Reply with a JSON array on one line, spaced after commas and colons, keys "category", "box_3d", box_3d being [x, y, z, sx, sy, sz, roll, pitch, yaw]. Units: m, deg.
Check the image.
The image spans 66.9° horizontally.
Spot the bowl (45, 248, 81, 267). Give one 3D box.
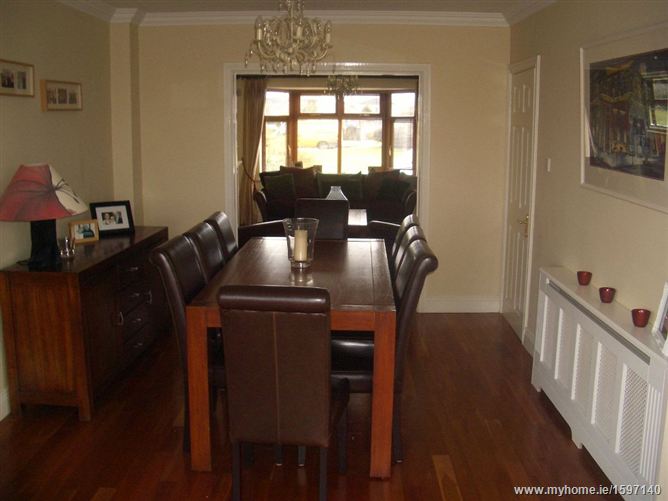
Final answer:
[{"category": "bowl", "box_3d": [-1.799, 0.059, 3.362, 0.119, 0.057, 0.149, 3, 16, -9]}]

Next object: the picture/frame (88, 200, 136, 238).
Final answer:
[{"category": "picture/frame", "box_3d": [-1.848, -0.251, 4.186, 0.278, 0.289, 0.028, -9, -9, -41]}]

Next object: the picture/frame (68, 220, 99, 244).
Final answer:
[{"category": "picture/frame", "box_3d": [-1.920, -0.136, 3.871, 0.024, 0.205, 0.162, -14, -13, 40]}]

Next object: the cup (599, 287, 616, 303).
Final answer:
[{"category": "cup", "box_3d": [1.577, 0.263, 2.951, 0.077, 0.092, 0.086, 1, -4, 0]}]

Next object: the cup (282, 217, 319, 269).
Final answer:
[{"category": "cup", "box_3d": [-0.201, -0.060, 3.411, 0.257, 0.385, 0.303, 7, 10, 35]}]

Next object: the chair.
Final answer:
[{"category": "chair", "box_3d": [-0.202, 0.815, 3.284, 1.381, 0.881, 1.962, -2, 19, -3]}]

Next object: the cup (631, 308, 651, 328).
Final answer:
[{"category": "cup", "box_3d": [1.560, 0.347, 2.583, 0.080, 0.083, 0.090, 2, -4, 5]}]

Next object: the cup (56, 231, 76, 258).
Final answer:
[{"category": "cup", "box_3d": [-1.831, -0.047, 3.502, 0.128, 0.169, 0.143, 3, 9, 8]}]

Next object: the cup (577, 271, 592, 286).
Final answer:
[{"category": "cup", "box_3d": [1.600, 0.179, 3.248, 0.075, 0.077, 0.087, 1, -4, -3]}]
